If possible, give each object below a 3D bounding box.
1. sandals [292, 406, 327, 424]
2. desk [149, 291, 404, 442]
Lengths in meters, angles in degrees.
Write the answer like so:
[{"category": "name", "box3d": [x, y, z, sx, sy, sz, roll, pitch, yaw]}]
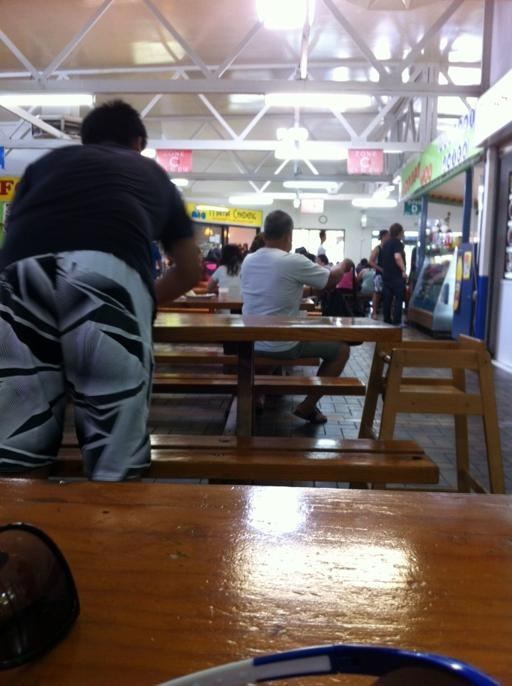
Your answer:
[{"category": "sandals", "box3d": [0.408, 0.551, 4.033, 0.226, 0.088, 0.121, 6, -4, 29]}, {"category": "desk", "box3d": [0.064, 0.200, 3.465, 1.217, 0.584, 1.215, 1, 3, 3]}]
